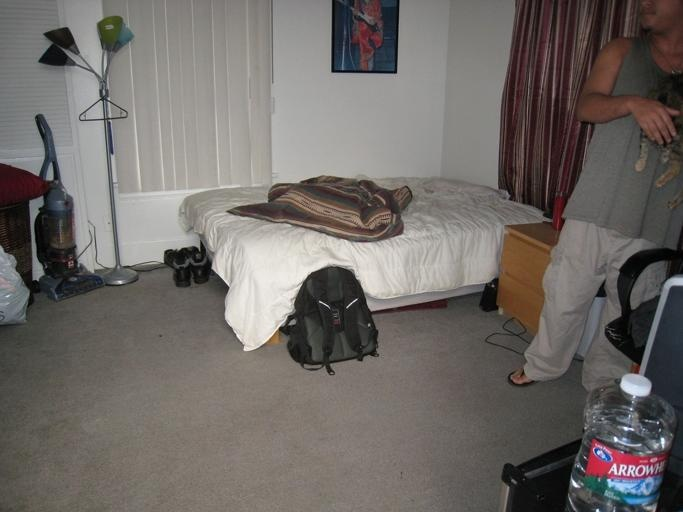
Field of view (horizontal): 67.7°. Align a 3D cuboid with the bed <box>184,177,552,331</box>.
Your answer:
[{"bbox_3d":[0.123,-0.328,4.388,2.559,0.930,2.809,-2,14,-17],"label":"bed"}]

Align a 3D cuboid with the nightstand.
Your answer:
[{"bbox_3d":[1.146,0.140,3.241,0.345,0.633,0.453,2,16,1],"label":"nightstand"}]

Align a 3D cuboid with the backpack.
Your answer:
[{"bbox_3d":[-0.077,0.339,3.009,0.502,0.502,0.457,-16,25,-34],"label":"backpack"}]

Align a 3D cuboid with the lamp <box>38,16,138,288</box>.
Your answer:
[{"bbox_3d":[-1.881,-0.739,3.942,0.600,2.033,0.779,-7,24,-28],"label":"lamp"}]

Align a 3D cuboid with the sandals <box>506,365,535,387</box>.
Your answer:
[{"bbox_3d":[0.980,0.649,2.784,0.136,0.057,0.081,-6,41,4],"label":"sandals"}]

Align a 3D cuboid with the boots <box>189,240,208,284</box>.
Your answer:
[{"bbox_3d":[-1.114,0.071,3.989,0.112,0.143,0.349,-3,28,-14],"label":"boots"}]

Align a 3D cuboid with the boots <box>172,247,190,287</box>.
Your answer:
[{"bbox_3d":[-1.264,0.064,4.058,0.160,0.201,0.492,-4,23,-16],"label":"boots"}]
